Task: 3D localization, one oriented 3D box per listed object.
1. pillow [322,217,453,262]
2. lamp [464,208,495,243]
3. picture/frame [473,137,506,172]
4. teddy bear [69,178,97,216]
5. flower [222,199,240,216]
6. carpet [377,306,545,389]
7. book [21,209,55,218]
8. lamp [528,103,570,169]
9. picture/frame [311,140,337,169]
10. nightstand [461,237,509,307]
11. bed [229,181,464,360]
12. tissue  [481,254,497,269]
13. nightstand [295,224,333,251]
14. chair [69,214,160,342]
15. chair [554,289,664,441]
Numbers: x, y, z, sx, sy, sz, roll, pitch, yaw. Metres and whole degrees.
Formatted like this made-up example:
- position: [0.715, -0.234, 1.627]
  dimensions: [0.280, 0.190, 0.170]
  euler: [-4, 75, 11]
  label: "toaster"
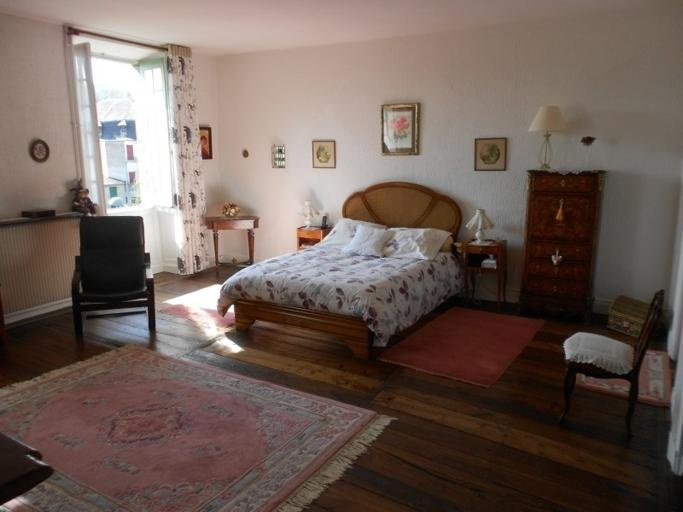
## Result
- position: [0.520, -0.223, 6.329]
  dimensions: [1.549, 0.330, 0.740]
  euler: [6, 14, 27]
  label: "pillow"
- position: [1.691, -0.375, 6.217]
  dimensions: [0.417, 0.412, 0.415]
  euler: [0, -2, 3]
  label: "lamp"
- position: [1.837, -1.263, 6.178]
  dimensions: [0.452, 0.430, 0.036]
  euler: [4, 15, 23]
  label: "picture/frame"
- position: [-3.194, -0.653, 6.244]
  dimensions: [0.201, 0.447, 0.215]
  euler: [-9, 12, 10]
  label: "teddy bear"
- position: [-1.698, -0.783, 7.768]
  dimensions: [0.255, 0.126, 0.246]
  euler: [12, 31, 17]
  label: "flower"
- position: [1.294, 0.884, 5.210]
  dimensions: [1.099, 0.110, 1.724]
  euler: [8, 15, 35]
  label: "carpet"
- position: [-3.509, -0.480, 5.775]
  dimensions: [0.331, 0.091, 0.170]
  euler: [-8, 14, -29]
  label: "book"
- position: [2.363, -1.354, 5.749]
  dimensions: [0.395, 0.714, 0.395]
  euler: [4, 14, 21]
  label: "lamp"
- position: [-0.249, -1.467, 7.194]
  dimensions: [0.427, 0.405, 0.042]
  euler: [6, 12, 26]
  label: "picture/frame"
- position: [1.748, 0.206, 6.214]
  dimensions: [0.571, 0.810, 0.486]
  euler: [4, 14, 22]
  label: "nightstand"
- position: [0.181, 0.117, 6.029]
  dimensions: [1.941, 1.553, 2.503]
  euler: [8, 14, 33]
  label: "bed"
- position: [1.795, 0.051, 6.102]
  dimensions: [0.151, 0.100, 0.213]
  euler: [3, 8, 25]
  label: "tissue "
- position: [-0.445, -0.352, 7.272]
  dimensions: [0.520, 0.582, 0.341]
  euler: [5, 9, 32]
  label: "nightstand"
- position: [-2.579, 0.178, 5.591]
  dimensions: [0.813, 1.200, 0.951]
  euler: [-6, 14, -22]
  label: "chair"
- position: [2.036, 0.765, 3.837]
  dimensions: [0.601, 1.065, 0.630]
  euler: [6, 15, 28]
  label: "chair"
